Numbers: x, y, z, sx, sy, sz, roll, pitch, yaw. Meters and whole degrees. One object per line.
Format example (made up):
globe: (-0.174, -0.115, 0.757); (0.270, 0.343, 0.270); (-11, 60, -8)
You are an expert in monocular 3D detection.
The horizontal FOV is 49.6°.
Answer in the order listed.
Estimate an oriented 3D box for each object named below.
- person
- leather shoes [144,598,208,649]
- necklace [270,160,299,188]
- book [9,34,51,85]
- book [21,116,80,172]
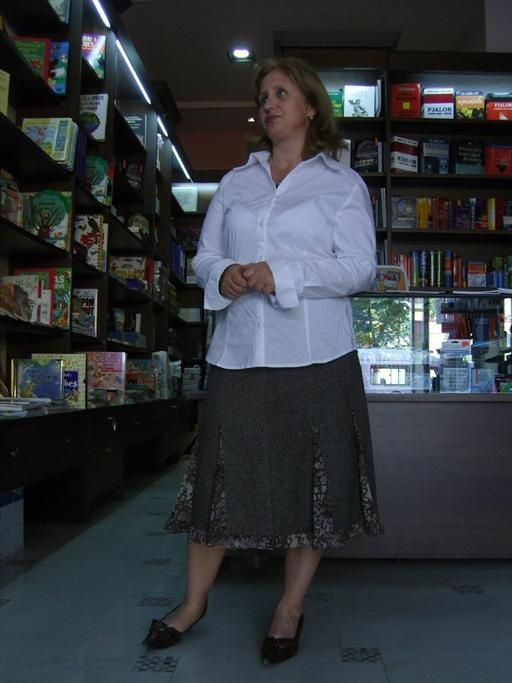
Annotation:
person: (0.011, -0.024, 1.278); (0.493, 1.411, 0.360); (-6, -10, 35)
leather shoes: (-0.181, 0.644, 1.280); (0.068, 0.041, 0.170); (0, 5, 31)
necklace: (0.052, -0.384, 1.307); (0.057, 0.070, 0.023); (5, 6, 5)
book: (-0.968, -1.251, 2.386); (0.185, 0.235, 0.056); (-2, -3, -5)
book: (-0.898, -0.898, 2.463); (0.242, 0.227, 0.056); (3, -15, 1)
